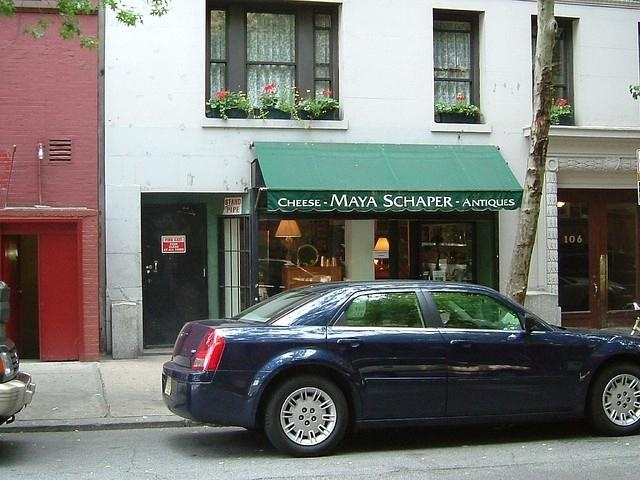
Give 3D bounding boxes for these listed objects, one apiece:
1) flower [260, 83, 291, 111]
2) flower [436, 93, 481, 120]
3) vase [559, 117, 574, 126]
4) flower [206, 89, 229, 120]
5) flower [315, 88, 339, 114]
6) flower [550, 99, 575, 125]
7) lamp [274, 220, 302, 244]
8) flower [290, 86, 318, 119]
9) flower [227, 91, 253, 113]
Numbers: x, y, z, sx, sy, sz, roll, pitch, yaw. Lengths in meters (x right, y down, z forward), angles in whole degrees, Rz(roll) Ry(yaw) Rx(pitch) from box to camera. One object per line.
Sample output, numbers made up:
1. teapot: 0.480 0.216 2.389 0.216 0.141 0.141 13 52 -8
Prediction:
1. flower: -0.922 -2.909 17.540 0.665 0.409 0.602 1 45 1
2. flower: 2.930 -2.815 18.220 0.830 0.447 0.597 0 6 -7
3. vase: 5.399 -2.595 18.747 0.259 0.142 0.258 0 -1 39
4. flower: -2.020 -2.705 17.291 0.326 0.546 0.534 -11 14 -44
5. flower: 0.112 -2.845 17.609 0.564 0.375 0.541 2 10 23
6. flower: 5.248 -2.766 18.569 0.397 0.546 0.795 3 10 26
7. lamp: -0.623 -0.175 17.114 0.489 0.428 0.455 -1 -2 -5
8. flower: -0.342 -2.806 17.632 0.496 0.657 0.491 -2 10 -2
9. flower: -1.616 -2.798 17.389 0.467 0.432 0.451 -2 10 -5
